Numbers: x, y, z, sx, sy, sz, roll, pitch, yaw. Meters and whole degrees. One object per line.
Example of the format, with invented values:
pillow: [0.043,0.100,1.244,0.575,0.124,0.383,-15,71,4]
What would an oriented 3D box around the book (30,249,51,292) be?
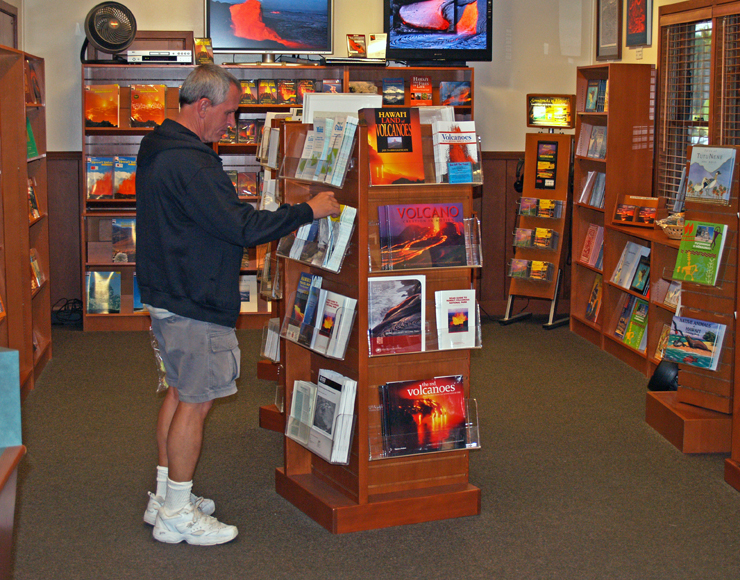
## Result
book: [-2.872,-0.168,5.351,0.125,0.316,0.328,-7,9,-3]

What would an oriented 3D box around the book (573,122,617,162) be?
book: [2.274,-1.496,6.221,0.163,0.425,0.476,4,6,-11]

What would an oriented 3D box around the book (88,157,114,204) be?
book: [-2.908,-1.204,6.645,0.291,0.461,0.127,-4,10,-25]

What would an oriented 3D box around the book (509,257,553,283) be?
book: [1.767,-0.213,6.796,0.419,0.229,0.214,8,-1,24]

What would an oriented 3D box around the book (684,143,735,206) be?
book: [2.053,-0.680,3.694,0.064,0.328,0.319,-3,10,-18]

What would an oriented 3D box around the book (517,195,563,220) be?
book: [1.863,-0.893,6.726,0.478,0.217,0.126,3,9,14]

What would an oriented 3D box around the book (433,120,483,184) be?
book: [0.381,-0.609,2.752,0.246,0.349,0.114,-5,8,-19]

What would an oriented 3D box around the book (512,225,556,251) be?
book: [1.813,-0.573,6.784,0.456,0.240,0.151,3,9,14]

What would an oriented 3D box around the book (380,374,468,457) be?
book: [0.237,0.586,2.934,0.388,0.337,0.058,-3,2,-18]

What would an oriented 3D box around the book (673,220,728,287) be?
book: [1.998,-0.215,3.742,0.139,0.398,0.268,-5,11,-33]

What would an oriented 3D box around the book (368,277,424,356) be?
book: [0.106,0.108,2.784,0.331,0.429,0.031,-2,8,-16]

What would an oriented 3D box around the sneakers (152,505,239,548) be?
sneakers: [-0.801,1.071,2.883,0.421,0.200,0.163,2,4,-8]

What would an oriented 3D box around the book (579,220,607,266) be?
book: [2.323,-0.484,6.426,0.063,0.488,0.418,13,5,-19]

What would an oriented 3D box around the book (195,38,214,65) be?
book: [-1.791,-2.573,6.620,0.201,0.307,0.280,-2,10,-15]

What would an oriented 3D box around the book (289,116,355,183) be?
book: [-0.208,-0.625,2.783,0.045,0.258,0.341,15,3,-27]

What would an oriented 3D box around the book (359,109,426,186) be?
book: [0.094,-0.628,2.691,0.279,0.329,0.114,0,9,-3]

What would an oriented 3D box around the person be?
person: [-0.734,0.101,2.750,0.891,2.144,0.386,4,9,24]

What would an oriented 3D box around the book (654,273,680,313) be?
book: [2.369,0.014,4.919,0.147,0.286,0.294,1,5,-9]

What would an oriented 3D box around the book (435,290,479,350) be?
book: [0.395,0.136,2.879,0.258,0.348,0.036,-3,2,-18]

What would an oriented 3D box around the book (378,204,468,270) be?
book: [0.216,-0.236,2.762,0.280,0.205,0.029,-2,-2,-15]
